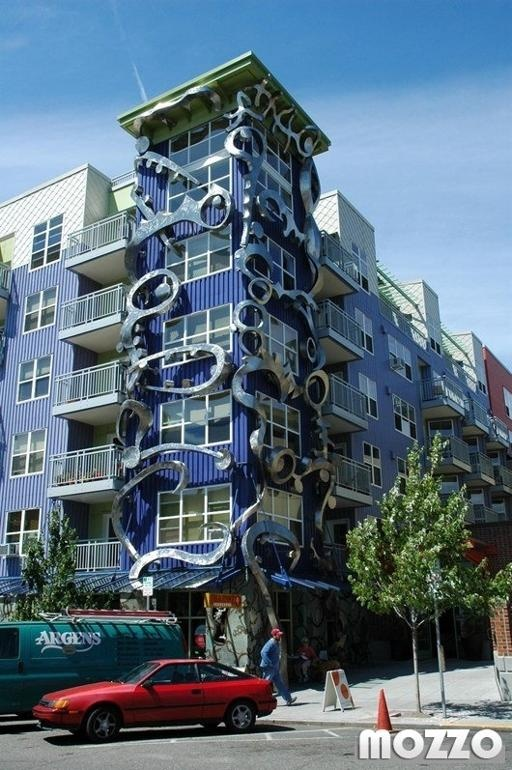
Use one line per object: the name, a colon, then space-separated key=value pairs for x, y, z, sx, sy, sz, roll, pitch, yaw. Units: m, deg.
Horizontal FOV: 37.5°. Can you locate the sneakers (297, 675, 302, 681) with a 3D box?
sneakers: x=1.322 y=8.618 z=22.273 sx=0.111 sy=0.195 sz=0.449 roll=1 pitch=-16 yaw=-6

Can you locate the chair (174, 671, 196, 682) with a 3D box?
chair: x=-1.104 y=4.711 z=12.180 sx=0.197 sy=0.179 sz=0.130 roll=1 pitch=-25 yaw=-4
